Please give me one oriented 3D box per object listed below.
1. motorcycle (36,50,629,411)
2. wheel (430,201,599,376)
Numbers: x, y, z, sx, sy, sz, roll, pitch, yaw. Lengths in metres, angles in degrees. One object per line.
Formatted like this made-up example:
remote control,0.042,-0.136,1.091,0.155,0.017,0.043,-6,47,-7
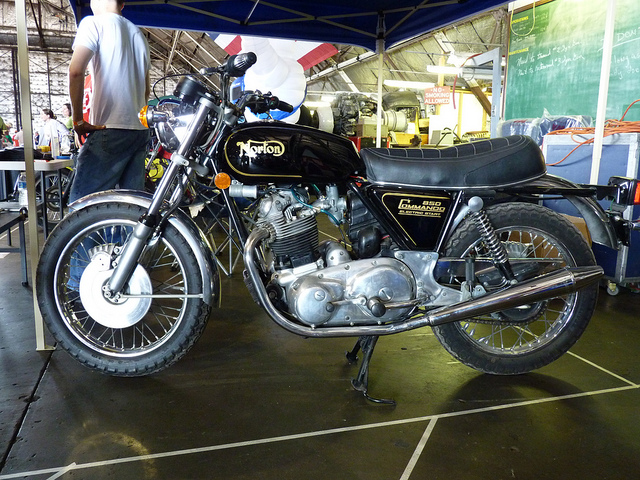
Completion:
motorcycle,0.052,-0.052,2.577,3.242,1.699,1.119,1,9,0
wheel,1.047,0.273,2.588,0.961,0.941,0.159,6,5,-3
